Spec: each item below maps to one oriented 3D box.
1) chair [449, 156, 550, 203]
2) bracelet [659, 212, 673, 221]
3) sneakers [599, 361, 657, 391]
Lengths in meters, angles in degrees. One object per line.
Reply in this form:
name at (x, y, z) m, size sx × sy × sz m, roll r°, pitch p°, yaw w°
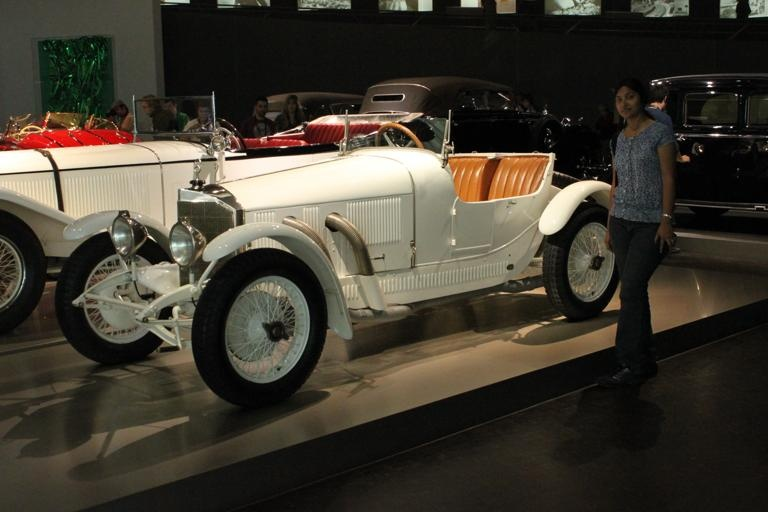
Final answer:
chair at (0.884, -0.650, 4.353) m, size 0.837 × 0.418 × 0.252 m, roll 4°, pitch 12°, yaw 13°
bracelet at (1.670, -0.238, 3.173) m, size 0.036 × 0.047 × 0.025 m, roll 8°, pitch 44°, yaw 1°
sneakers at (1.530, 0.761, 3.460) m, size 0.389 × 0.167 × 0.146 m, roll -5°, pitch 13°, yaw -20°
